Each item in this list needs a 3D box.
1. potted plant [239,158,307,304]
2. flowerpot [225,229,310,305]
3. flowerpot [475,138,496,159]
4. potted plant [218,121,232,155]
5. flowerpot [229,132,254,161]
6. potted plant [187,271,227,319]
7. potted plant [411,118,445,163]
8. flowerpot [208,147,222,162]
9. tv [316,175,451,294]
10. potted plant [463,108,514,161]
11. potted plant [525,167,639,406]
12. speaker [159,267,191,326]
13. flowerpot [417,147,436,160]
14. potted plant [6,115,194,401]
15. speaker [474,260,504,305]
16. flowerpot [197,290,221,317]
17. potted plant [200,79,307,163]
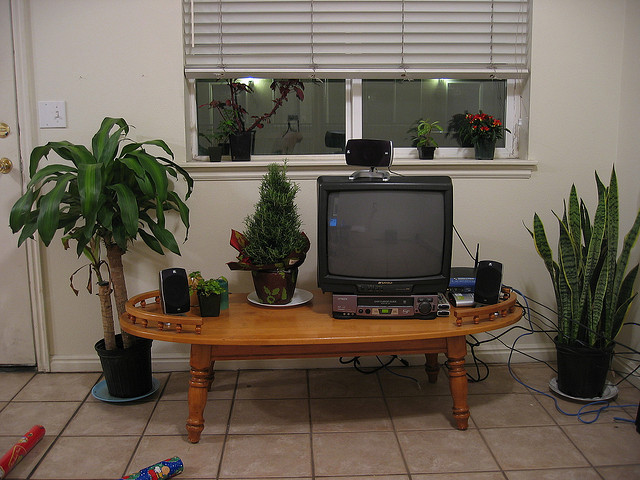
[{"bbox_3d":[-0.244,-0.031,2.586,0.345,0.683,0.232,-3,15,-11],"label":"potted plant"},{"bbox_3d":[-0.282,0.180,2.559,0.295,0.425,0.271,11,17,26],"label":"flowerpot"},{"bbox_3d":[0.966,-0.535,2.969,0.111,0.092,0.104,3,7,28],"label":"flowerpot"},{"bbox_3d":[-0.555,-0.603,2.982,0.136,0.209,0.148,-1,10,-9],"label":"potted plant"},{"bbox_3d":[-0.461,-0.543,2.941,0.157,0.196,0.142,0,4,-3],"label":"flowerpot"},{"bbox_3d":[-0.569,0.256,2.563,0.261,0.281,0.189,0,4,-12],"label":"potted plant"},{"bbox_3d":[0.634,-0.592,2.984,0.200,0.241,0.237,2,15,7],"label":"potted plant"},{"bbox_3d":[-0.611,-0.501,2.946,0.087,0.100,0.073,0,4,-3],"label":"flowerpot"},{"bbox_3d":[0.276,0.035,2.705,0.832,0.784,0.496,0,5,1],"label":"tv"},{"bbox_3d":[1.020,-0.597,2.963,0.200,0.194,0.217,-1,10,17],"label":"potted plant"},{"bbox_3d":[1.377,0.238,2.692,0.344,1.177,0.439,-10,17,-33],"label":"potted plant"},{"bbox_3d":[-0.678,0.256,2.403,0.141,0.254,0.150,1,15,-10],"label":"speaker"},{"bbox_3d":[0.620,-0.514,2.980,0.087,0.068,0.074,0,6,-3],"label":"flowerpot"},{"bbox_3d":[-1.109,0.093,2.698,0.851,1.463,0.751,-2,15,-7],"label":"potted plant"},{"bbox_3d":[0.835,0.213,2.533,0.122,0.223,0.121,6,-2,12],"label":"speaker"},{"bbox_3d":[-0.540,0.315,2.474,0.125,0.157,0.114,-1,6,-9],"label":"flowerpot"},{"bbox_3d":[-0.391,-0.718,3.006,0.581,0.512,0.280,7,8,8],"label":"potted plant"}]
